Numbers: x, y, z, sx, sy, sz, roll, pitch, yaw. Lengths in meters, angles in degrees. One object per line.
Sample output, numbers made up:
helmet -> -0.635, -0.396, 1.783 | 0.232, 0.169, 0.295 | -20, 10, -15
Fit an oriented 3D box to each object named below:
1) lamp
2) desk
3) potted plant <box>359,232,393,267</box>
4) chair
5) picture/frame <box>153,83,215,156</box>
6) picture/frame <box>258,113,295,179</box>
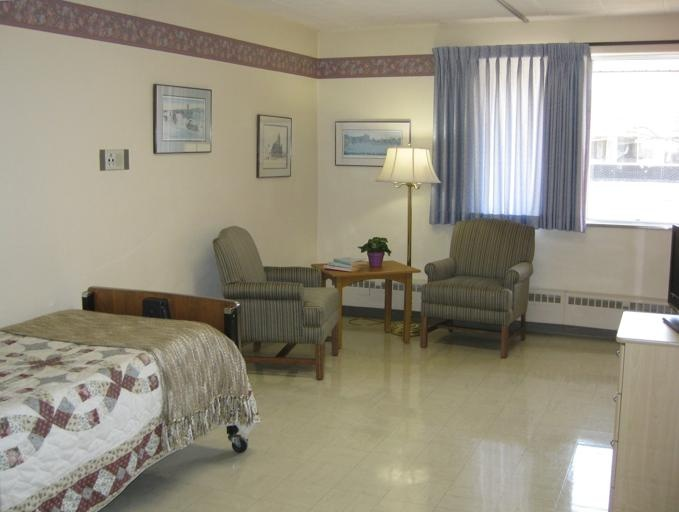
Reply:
lamp -> 0.772, -0.197, 5.821 | 0.612, 2.030, 0.859 | 2, 10, 10
desk -> 0.295, 0.506, 5.713 | 0.989, 0.813, 0.826 | -2, 6, -10
potted plant -> 0.391, -0.040, 5.621 | 0.284, 0.319, 0.344 | -6, -9, 44
chair -> -0.551, 0.372, 4.935 | 1.250, 1.289, 1.242 | 5, 10, 40
picture/frame -> -1.395, -1.213, 4.633 | 0.042, 0.556, 0.639 | 15, 18, 30
picture/frame -> -0.724, -1.234, 5.789 | 0.045, 0.745, 0.724 | 9, 13, 31
